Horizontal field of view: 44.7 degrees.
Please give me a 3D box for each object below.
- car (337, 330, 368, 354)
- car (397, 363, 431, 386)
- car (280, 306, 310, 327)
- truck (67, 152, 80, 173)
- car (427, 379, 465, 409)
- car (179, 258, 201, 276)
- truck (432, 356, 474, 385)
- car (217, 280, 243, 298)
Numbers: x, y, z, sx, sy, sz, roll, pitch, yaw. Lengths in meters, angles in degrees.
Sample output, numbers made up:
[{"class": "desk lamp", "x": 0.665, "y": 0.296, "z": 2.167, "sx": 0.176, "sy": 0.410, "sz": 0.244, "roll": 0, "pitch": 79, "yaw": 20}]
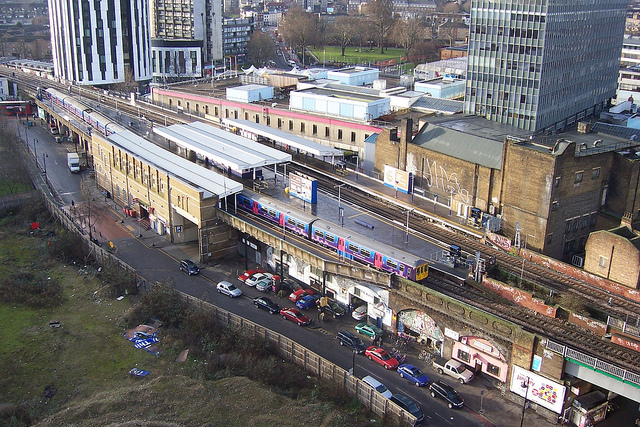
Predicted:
[{"class": "car", "x": 5.892, "y": 23.748, "z": 144.396, "sx": 5.220, "sy": 2.139, "sz": 2.917, "roll": 23, "pitch": 40, "yaw": 36}, {"class": "car", "x": 16.729, "y": 28.952, "z": 138.728, "sx": 2.758, "sy": 2.034, "sz": 5.421, "roll": -20, "pitch": 30, "yaw": -37}, {"class": "car", "x": -4.839, "y": 19.553, "z": 149.209, "sx": 5.661, "sy": 2.018, "sz": 2.533, "roll": 19, "pitch": 31, "yaw": 31}, {"class": "truck", "x": -64.052, "y": -13.575, "z": 203.084, "sx": 2.983, "sy": 3.114, "sz": 5.733, "roll": -12, "pitch": 40, "yaw": -34}, {"class": "car", "x": 22.023, "y": 31.944, "z": 136.400, "sx": 3.181, "sy": 2.874, "sz": 6.452, "roll": -27, "pitch": 40, "yaw": -32}, {"class": "car", "x": -26.880, "y": 11.265, "z": 160.624, "sx": 4.448, "sy": 2.077, "sz": 2.548, "roll": 12, "pitch": 26, "yaw": 31}, {"class": "truck", "x": 23.772, "y": 28.126, "z": 139.430, "sx": 6.533, "sy": 2.515, "sz": 3.450, "roll": 23, "pitch": 39, "yaw": 36}, {"class": "car", "x": -17.942, "y": 15.008, "z": 154.756, "sx": 4.683, "sy": 2.101, "sz": 2.536, "roll": 20, "pitch": 35, "yaw": 27}]
